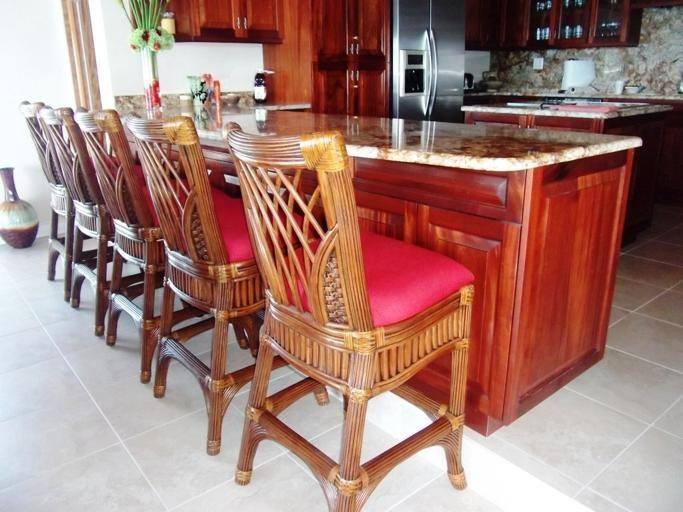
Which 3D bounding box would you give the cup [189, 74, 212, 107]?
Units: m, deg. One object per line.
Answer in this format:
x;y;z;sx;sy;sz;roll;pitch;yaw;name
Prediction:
-1.162;-1.385;4.058;0.168;0.247;0.203;-27;44;-37;cup

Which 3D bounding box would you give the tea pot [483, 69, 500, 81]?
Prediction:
1.997;-2.476;6.596;0.157;0.098;0.157;-2;22;1;tea pot

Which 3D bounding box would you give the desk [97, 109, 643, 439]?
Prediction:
0.280;-0.087;2.706;0.839;1.091;2.101;-10;17;-38;desk

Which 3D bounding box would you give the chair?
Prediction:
-0.384;0.237;1.941;0.537;1.035;1.530;-16;25;-39;chair
